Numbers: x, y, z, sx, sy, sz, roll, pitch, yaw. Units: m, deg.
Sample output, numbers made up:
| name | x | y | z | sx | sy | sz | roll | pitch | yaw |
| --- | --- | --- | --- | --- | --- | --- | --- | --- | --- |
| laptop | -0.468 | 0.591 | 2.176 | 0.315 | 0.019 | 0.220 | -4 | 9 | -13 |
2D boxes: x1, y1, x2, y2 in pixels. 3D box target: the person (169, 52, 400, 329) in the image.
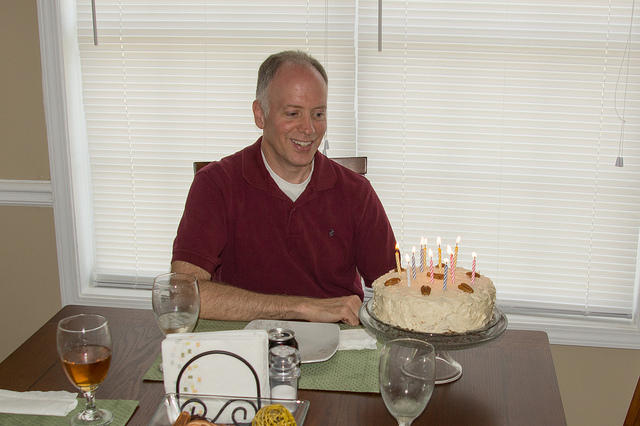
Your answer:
| name | x | y | z | sx | sy | sz | roll | pitch | yaw |
| --- | --- | --- | --- | --- | --- | --- | --- | --- | --- |
| person | -0.180 | -0.184 | 2.709 | 1.115 | 1.201 | 0.356 | -3 | 9 | -20 |

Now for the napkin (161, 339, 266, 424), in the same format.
| name | x | y | z | sx | sy | sz | roll | pitch | yaw |
| --- | --- | --- | --- | --- | --- | --- | --- | --- | --- |
| napkin | -0.316 | 0.497 | 1.826 | 0.358 | 0.244 | 0.235 | 2 | 12 | 12 |

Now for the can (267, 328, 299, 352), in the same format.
| name | x | y | z | sx | sy | sz | roll | pitch | yaw |
| --- | --- | --- | --- | --- | --- | --- | --- | --- | --- |
| can | -0.137 | 0.450 | 1.982 | 0.086 | 0.061 | 0.083 | 0 | 4 | 0 |

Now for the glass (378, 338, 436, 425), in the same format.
| name | x | y | z | sx | sy | sz | roll | pitch | yaw |
| --- | --- | --- | --- | --- | --- | --- | --- | --- | --- |
| glass | 0.278 | 0.527 | 1.743 | 0.170 | 0.246 | 0.081 | 0 | 9 | 3 |
